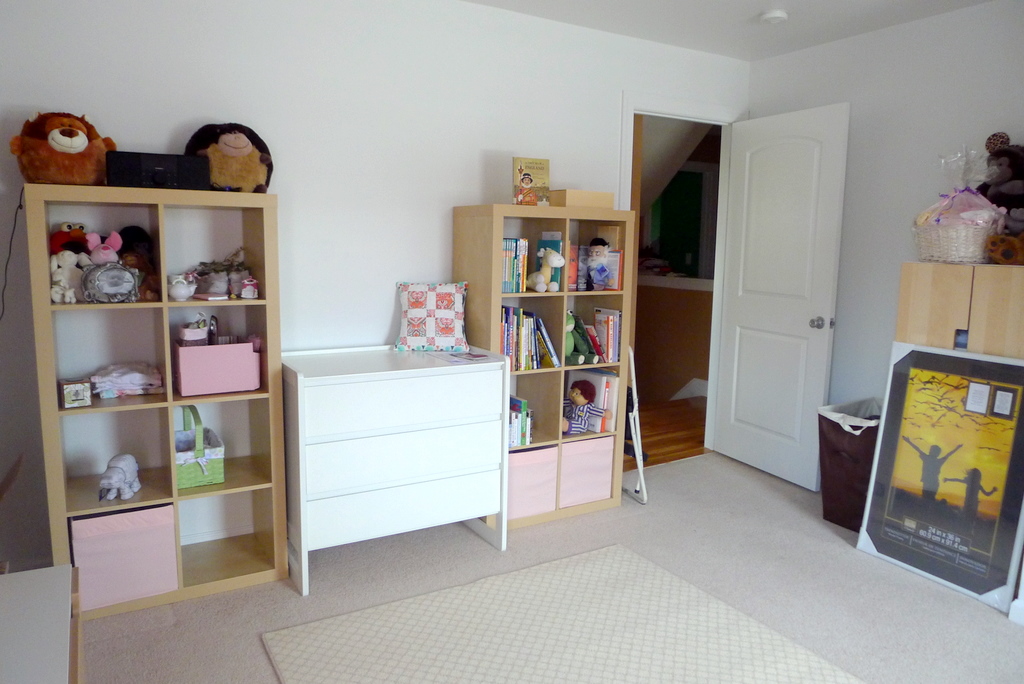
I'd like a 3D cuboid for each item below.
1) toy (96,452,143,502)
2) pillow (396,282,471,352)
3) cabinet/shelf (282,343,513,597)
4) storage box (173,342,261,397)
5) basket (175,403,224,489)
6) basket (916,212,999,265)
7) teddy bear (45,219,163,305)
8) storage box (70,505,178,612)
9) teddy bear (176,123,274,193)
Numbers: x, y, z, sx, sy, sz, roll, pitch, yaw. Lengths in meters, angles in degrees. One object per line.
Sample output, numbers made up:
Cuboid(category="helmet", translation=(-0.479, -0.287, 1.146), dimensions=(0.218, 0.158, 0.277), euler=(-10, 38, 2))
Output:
Cuboid(category="toy", translation=(-1.926, 0.648, 3.562), dimensions=(0.180, 0.167, 0.305), euler=(-2, 10, -6))
Cuboid(category="pillow", translation=(-0.460, -0.144, 4.138), dimensions=(0.405, 0.402, 0.129), euler=(1, -1, -4))
Cuboid(category="cabinet/shelf", translation=(-0.680, 0.645, 4.037), dimensions=(1.166, 1.097, 0.636), euler=(-3, 7, -30))
Cuboid(category="storage box", translation=(-1.445, 0.088, 3.551), dimensions=(0.301, 0.186, 0.295), euler=(-5, 9, -30))
Cuboid(category="basket", translation=(-1.574, 0.535, 3.695), dimensions=(0.271, 0.415, 0.393), euler=(-2, 6, -26))
Cuboid(category="basket", translation=(2.386, -0.554, 3.866), dimensions=(0.285, 0.183, 0.253), euler=(-1, 5, -7))
Cuboid(category="teddy bear", translation=(-1.925, -0.361, 3.373), dimensions=(0.407, 0.350, 0.131), euler=(-3, 2, -27))
Cuboid(category="storage box", translation=(-1.853, 1.002, 3.396), dimensions=(0.512, 0.509, 0.184), euler=(-3, 5, -25))
Cuboid(category="teddy bear", translation=(-1.421, -0.923, 3.615), dimensions=(0.397, 0.336, 0.157), euler=(-6, 11, -22))
